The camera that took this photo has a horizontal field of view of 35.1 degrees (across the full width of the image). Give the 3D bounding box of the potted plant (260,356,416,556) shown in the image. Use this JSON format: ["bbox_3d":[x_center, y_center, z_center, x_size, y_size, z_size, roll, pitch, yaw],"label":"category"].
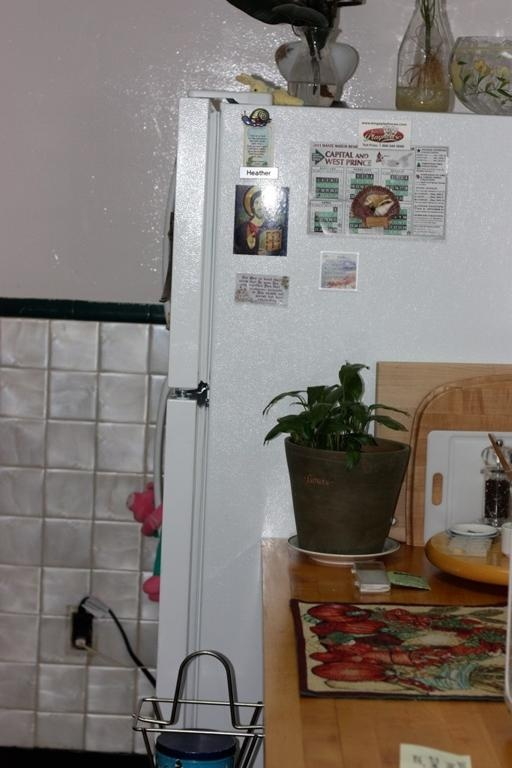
[{"bbox_3d":[0.145,0.114,1.206,0.233,0.246,0.216,-4,5,-37],"label":"potted plant"}]

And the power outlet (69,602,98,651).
[{"bbox_3d":[-0.463,0.640,2.157,0.075,0.139,0.026,-7,9,17],"label":"power outlet"}]
